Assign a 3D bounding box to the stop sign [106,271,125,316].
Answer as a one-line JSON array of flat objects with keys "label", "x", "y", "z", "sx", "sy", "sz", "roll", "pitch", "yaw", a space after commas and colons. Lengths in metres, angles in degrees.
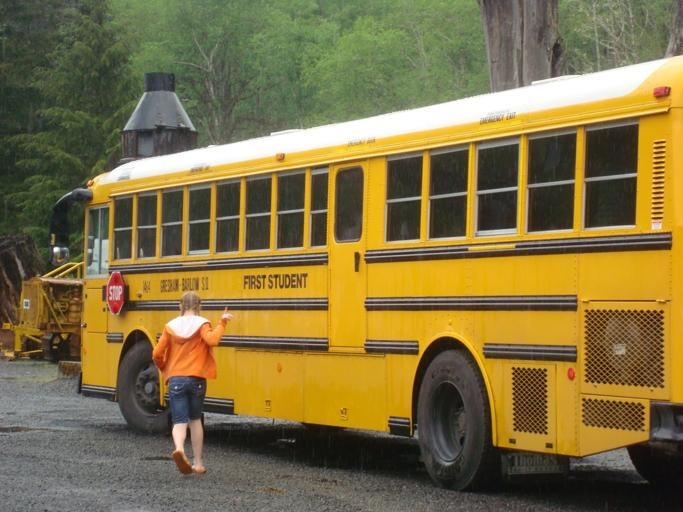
[{"label": "stop sign", "x": -3.535, "y": 0.587, "z": 12.755, "sx": 0.094, "sy": 1.070, "sz": 0.610, "roll": 0, "pitch": 0, "yaw": -30}]
